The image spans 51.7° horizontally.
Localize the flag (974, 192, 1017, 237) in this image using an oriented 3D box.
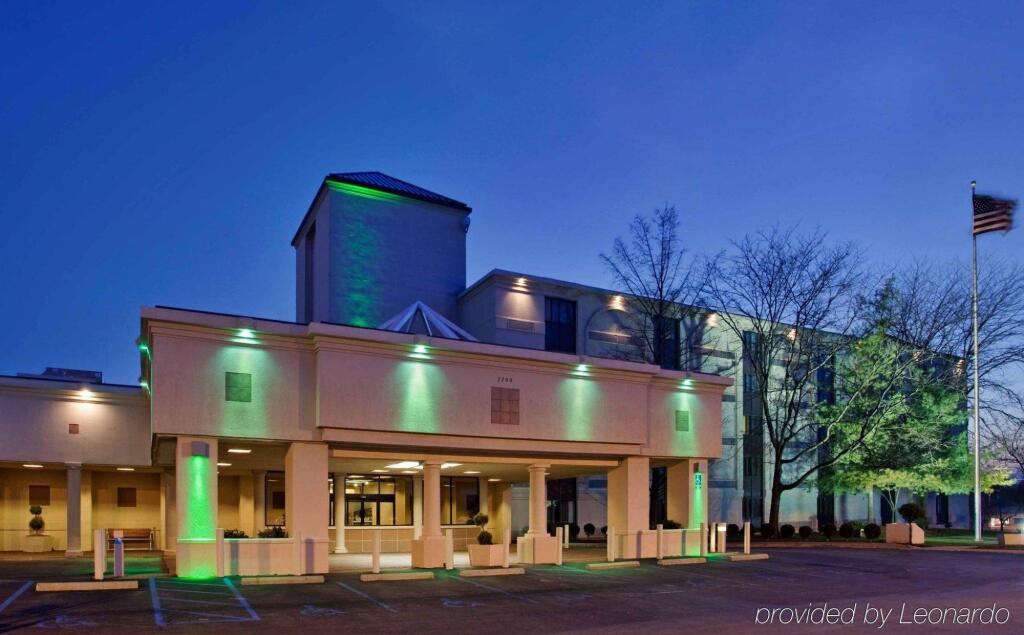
[{"bbox_3d":[28.975,-6.312,63.534,2.269,3.080,2.815,-6,-14,17],"label":"flag"}]
